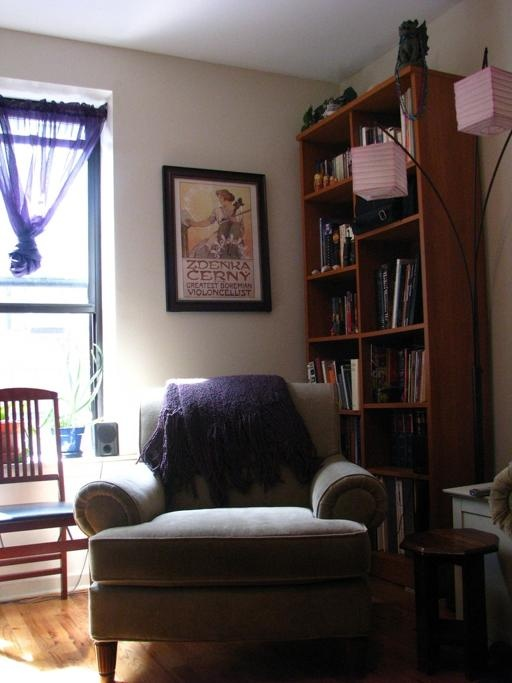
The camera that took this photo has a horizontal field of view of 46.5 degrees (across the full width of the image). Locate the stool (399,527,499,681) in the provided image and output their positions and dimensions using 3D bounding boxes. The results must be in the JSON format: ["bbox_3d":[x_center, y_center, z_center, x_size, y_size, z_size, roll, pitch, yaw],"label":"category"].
[{"bbox_3d":[0.477,0.695,1.635,0.287,0.352,0.336,-3,-12,11],"label":"stool"}]

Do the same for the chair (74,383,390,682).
[{"bbox_3d":[-0.067,0.568,1.793,0.629,0.644,0.744,-1,-21,-1],"label":"chair"}]
